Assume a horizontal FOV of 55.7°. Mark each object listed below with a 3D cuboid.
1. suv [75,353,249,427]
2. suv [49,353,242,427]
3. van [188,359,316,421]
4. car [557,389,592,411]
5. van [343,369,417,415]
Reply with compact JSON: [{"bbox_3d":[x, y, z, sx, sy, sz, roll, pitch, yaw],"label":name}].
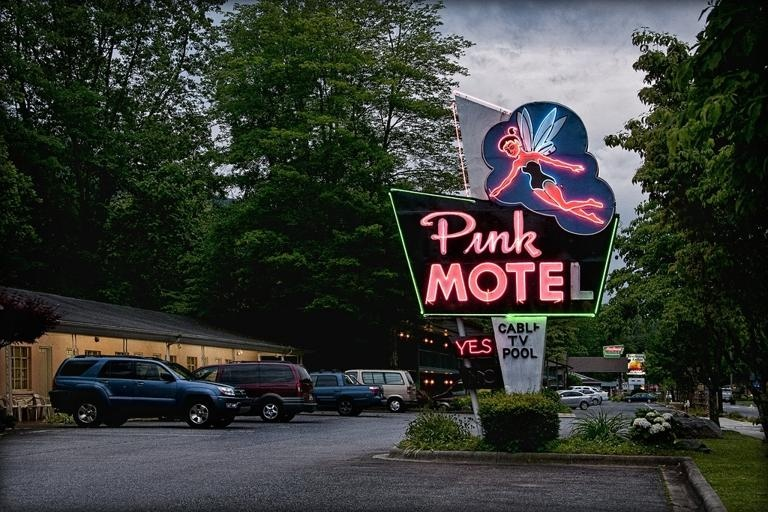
[{"bbox_3d":[-8.265,5.101,27.539,5.947,2.045,2.652,-2,-7,7],"label":"suv"},{"bbox_3d":[-8.764,5.078,27.717,6.650,2.266,2.941,-2,-7,7],"label":"suv"},{"bbox_3d":[-5.447,5.706,31.429,4.936,1.852,2.387,2,-5,6],"label":"van"},{"bbox_3d":[17.811,13.332,67.767,2.524,1.622,3.425,-4,-11,9],"label":"car"},{"bbox_3d":[-0.114,7.431,40.871,3.855,1.745,2.102,1,-5,2],"label":"van"}]
